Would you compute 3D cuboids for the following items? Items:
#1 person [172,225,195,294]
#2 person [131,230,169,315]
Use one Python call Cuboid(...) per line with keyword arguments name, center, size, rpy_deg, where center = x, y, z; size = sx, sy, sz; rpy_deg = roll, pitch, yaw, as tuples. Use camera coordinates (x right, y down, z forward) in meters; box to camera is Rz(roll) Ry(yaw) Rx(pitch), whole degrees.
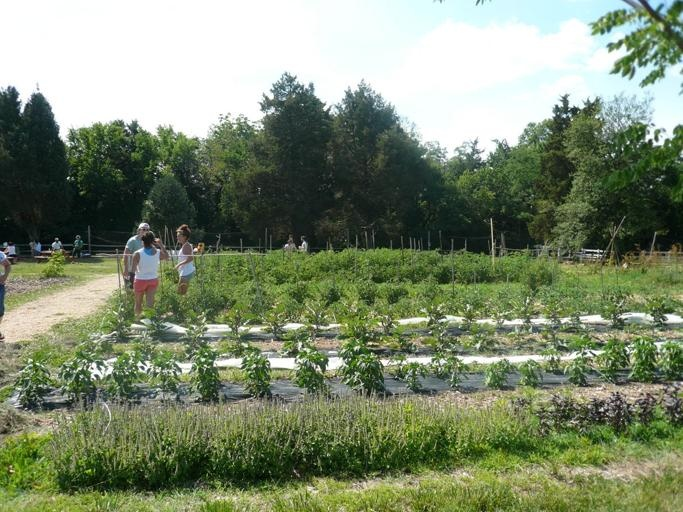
Cuboid(name="person", center=(-3.348, 0.077, 16.755), size=(0.347, 1.672, 1.812), rpy_deg=(-2, 13, -12))
Cuboid(name="person", center=(-3.764, 0.337, 15.387), size=(0.673, 1.719, 0.758), rpy_deg=(-3, 12, -15))
